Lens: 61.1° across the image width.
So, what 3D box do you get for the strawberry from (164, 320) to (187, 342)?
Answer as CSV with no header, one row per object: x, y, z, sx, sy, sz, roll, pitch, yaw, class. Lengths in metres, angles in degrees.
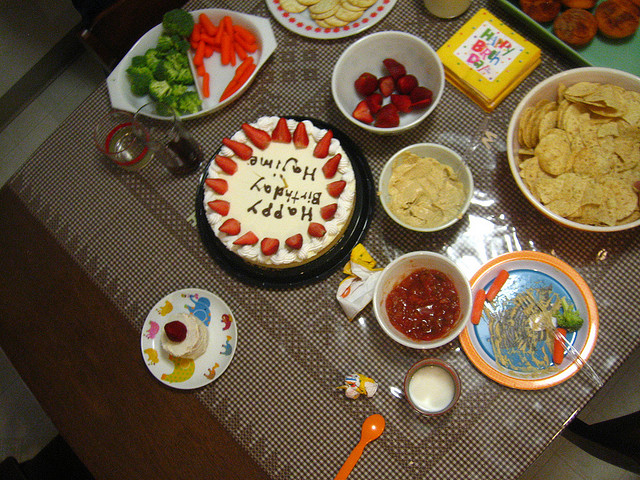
-0.691,0.438,2.583,0.092,0.052,0.085,30,66,-17,strawberry

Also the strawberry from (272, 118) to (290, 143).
-0.200,-0.557,2.781,0.080,0.031,0.115,4,98,5,strawberry

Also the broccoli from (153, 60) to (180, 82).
-0.837,-0.903,2.925,0.104,0.037,0.123,24,90,-8,broccoli

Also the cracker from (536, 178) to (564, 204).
1.076,-0.238,2.539,0.111,0.014,0.118,-11,75,-17,cracker

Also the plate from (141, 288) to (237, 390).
-0.657,0.531,2.871,0.479,0.191,0.479,41,86,7,plate

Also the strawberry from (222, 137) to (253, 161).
-0.423,-0.462,2.778,0.169,0.042,0.081,33,81,-4,strawberry

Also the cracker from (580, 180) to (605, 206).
1.265,-0.215,2.521,0.115,0.037,0.117,4,84,0,cracker

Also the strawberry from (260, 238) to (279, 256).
-0.251,0.033,2.662,0.090,0.048,0.083,4,83,0,strawberry

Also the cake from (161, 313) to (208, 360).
-0.654,0.467,2.689,0.193,0.217,0.225,10,83,3,cake

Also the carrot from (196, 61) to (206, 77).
-0.669,-0.937,2.988,0.035,0.022,0.073,1,70,-4,carrot

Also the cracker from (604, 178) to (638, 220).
1.407,-0.198,2.510,0.120,0.040,0.188,-11,84,-2,cracker

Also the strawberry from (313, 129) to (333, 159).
0.018,-0.473,2.752,0.071,0.031,0.145,30,103,33,strawberry

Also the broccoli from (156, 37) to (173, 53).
-0.850,-1.060,2.955,0.071,0.029,0.088,6,94,-1,broccoli

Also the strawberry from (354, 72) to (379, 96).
0.240,-0.788,2.820,0.099,0.102,0.114,13,84,22,strawberry

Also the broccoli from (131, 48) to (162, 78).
-0.943,-0.960,2.932,0.114,0.038,0.147,30,74,-7,broccoli

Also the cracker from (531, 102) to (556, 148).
1.064,-0.553,2.632,0.139,0.031,0.193,31,88,-1,cracker

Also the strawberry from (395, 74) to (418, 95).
0.448,-0.785,2.795,0.099,0.086,0.082,-21,50,-9,strawberry

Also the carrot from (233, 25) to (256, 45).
-0.413,-1.113,2.956,0.149,0.047,0.071,48,126,2,carrot

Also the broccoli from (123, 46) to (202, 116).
-0.893,-0.884,3.065,0.382,0.541,0.182,-41,97,-30,broccoli

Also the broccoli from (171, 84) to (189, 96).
-0.774,-0.814,2.958,0.058,0.015,0.059,-44,96,-21,broccoli

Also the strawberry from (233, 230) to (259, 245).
-0.359,-0.001,2.669,0.093,0.057,0.041,-26,101,-17,strawberry

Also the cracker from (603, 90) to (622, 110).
1.378,-0.659,2.545,0.094,0.027,0.094,19,84,1,cracker

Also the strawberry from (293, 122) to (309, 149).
-0.099,-0.526,2.757,0.080,0.031,0.123,3,93,9,strawberry

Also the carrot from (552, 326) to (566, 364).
1.126,0.496,2.553,0.045,0.054,0.182,5,68,9,carrot

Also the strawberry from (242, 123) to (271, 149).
-0.326,-0.525,2.825,0.155,0.036,0.090,40,81,-2,strawberry

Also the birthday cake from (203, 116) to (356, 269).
-0.220,-0.211,2.997,0.752,0.742,0.841,-3,46,-2,birthday cake

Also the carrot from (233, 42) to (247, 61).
-0.437,-1.026,2.969,0.051,0.039,0.110,-32,92,37,carrot

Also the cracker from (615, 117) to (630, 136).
1.432,-0.533,2.558,0.069,0.017,0.071,-42,77,18,cracker

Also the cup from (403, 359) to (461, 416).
0.545,0.697,2.577,0.213,0.192,0.292,3,90,13,cup

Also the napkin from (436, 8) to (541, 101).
0.854,-0.936,2.707,0.423,0.105,0.456,42,90,11,napkin

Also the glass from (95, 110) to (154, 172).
-1.053,-0.496,2.980,0.244,0.297,0.331,-1,86,5,glass

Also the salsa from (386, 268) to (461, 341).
0.493,0.315,2.559,0.347,0.065,0.313,-37,86,-4,salsa

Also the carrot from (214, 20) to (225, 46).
-0.548,-1.117,2.952,0.037,0.040,0.162,8,83,11,carrot

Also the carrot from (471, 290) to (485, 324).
0.762,0.327,2.606,0.034,0.131,0.145,10,86,16,carrot

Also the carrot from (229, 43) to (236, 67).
-0.482,-1.006,2.967,0.023,0.025,0.103,-3,88,3,carrot

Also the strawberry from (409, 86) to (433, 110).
0.521,-0.719,2.775,0.107,0.061,0.093,45,119,31,strawberry

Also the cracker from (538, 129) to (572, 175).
1.107,-0.415,2.501,0.129,0.034,0.216,6,84,1,cracker

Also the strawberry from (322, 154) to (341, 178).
0.059,-0.361,2.713,0.060,0.029,0.125,36,99,9,strawberry

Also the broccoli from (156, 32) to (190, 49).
-0.808,-1.079,2.958,0.126,0.087,0.069,4,61,-10,broccoli

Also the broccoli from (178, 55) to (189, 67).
-0.752,-0.980,2.985,0.049,0.028,0.049,45,83,-12,broccoli

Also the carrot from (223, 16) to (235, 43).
-0.497,-1.141,2.953,0.037,0.040,0.165,2,102,26,carrot

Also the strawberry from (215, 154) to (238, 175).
-0.478,-0.381,2.758,0.113,0.028,0.072,35,80,-4,strawberry

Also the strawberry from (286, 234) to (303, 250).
-0.127,0.009,2.666,0.080,0.031,0.074,2,84,0,strawberry

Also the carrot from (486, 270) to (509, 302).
0.866,0.226,2.632,0.095,0.029,0.105,31,90,1,carrot

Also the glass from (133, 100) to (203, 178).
-0.814,-0.520,2.862,0.180,0.295,0.189,37,85,24,glass

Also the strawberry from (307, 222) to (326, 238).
-0.016,-0.046,2.642,0.073,0.044,0.063,19,66,-4,strawberry

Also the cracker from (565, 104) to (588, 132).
1.213,-0.574,2.578,0.094,0.015,0.206,15,79,-1,cracker

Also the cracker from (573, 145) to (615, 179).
1.291,-0.363,2.552,0.140,0.023,0.175,15,82,8,cracker

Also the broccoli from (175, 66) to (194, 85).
-0.751,-0.896,2.970,0.077,0.043,0.107,-2,85,-15,broccoli

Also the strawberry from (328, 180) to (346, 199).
0.087,-0.248,2.686,0.092,0.044,0.077,-17,84,-2,strawberry

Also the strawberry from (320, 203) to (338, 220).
0.047,-0.139,2.670,0.092,0.030,0.059,-16,84,-2,strawberry

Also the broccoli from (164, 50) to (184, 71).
-0.799,-0.983,2.955,0.080,0.052,0.110,-30,103,-21,broccoli

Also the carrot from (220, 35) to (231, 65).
-0.515,-1.029,2.946,0.039,0.045,0.164,1,89,5,carrot

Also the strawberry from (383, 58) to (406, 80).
0.391,-0.871,2.772,0.096,0.027,0.100,-41,98,-1,strawberry

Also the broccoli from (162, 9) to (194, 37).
-0.770,-1.170,2.931,0.129,0.049,0.147,-12,77,-12,broccoli

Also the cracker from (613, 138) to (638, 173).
1.441,-0.414,2.555,0.121,0.016,0.151,23,89,12,cracker

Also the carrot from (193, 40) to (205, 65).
-0.663,-1.020,2.973,0.046,0.049,0.156,12,84,-35,carrot

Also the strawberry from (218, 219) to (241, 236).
-0.443,-0.062,2.682,0.081,0.041,0.071,-17,59,-18,strawberry
